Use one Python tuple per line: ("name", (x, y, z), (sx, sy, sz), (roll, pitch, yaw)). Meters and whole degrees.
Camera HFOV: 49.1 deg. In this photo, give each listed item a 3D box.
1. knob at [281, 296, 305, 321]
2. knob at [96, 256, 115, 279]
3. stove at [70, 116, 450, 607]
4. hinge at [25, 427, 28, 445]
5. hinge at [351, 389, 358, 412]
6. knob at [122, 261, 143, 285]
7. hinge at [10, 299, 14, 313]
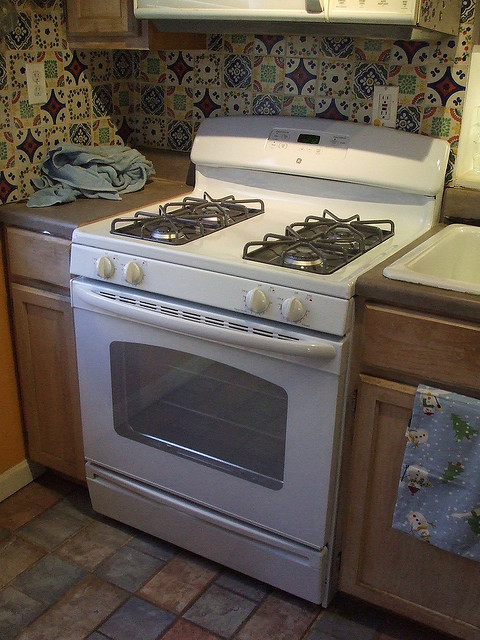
("knob", (0.099, -0.021, 0.980), (0.037, 0.044, 0.016), (1, -4, 23))
("knob", (-0.316, -0.124, 1.228), (0.047, 0.046, 0.012), (6, 12, 21))
("stove", (0.048, 0.038, 1.450), (0.772, 0.980, 0.696), (16, 29, 30))
("hinge", (-0.706, 0.384, 1.742), (0.014, 0.065, 0.007), (14, 26, 25))
("hinge", (0.235, 0.165, 1.078), (0.010, 0.055, 0.004), (16, 27, 28))
("knob", (-0.241, -0.105, 1.182), (0.046, 0.046, 0.015), (4, 8, 30))
("hinge", (-0.683, -0.040, 1.577), (0.004, 0.045, 0.020), (-17, 30, -37))
